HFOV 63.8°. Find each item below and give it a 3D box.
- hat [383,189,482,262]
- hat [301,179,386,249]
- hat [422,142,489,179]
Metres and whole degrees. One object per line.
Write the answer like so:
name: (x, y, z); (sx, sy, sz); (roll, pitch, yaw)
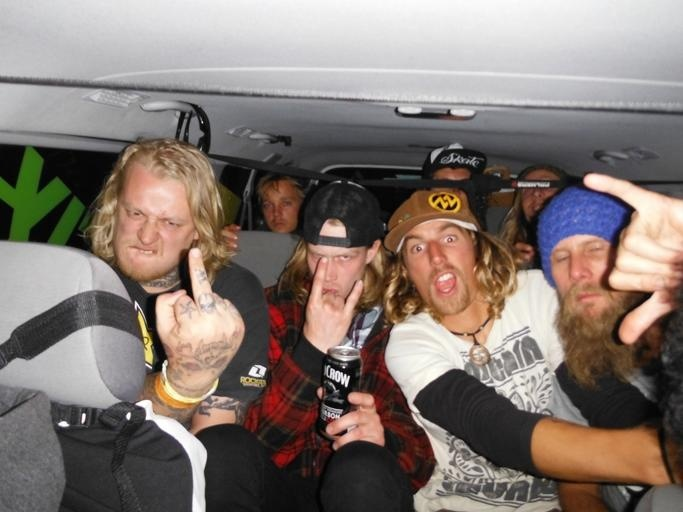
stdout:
hat: (0.423, -0.154, 2.509); (0.286, 0.182, 0.399); (-26, -23, 30)
hat: (0.030, -0.217, 2.687); (0.350, 0.201, 0.355); (7, 9, 17)
hat: (0.612, -0.509, 3.053); (0.200, 0.093, 0.298); (1, -3, -3)
